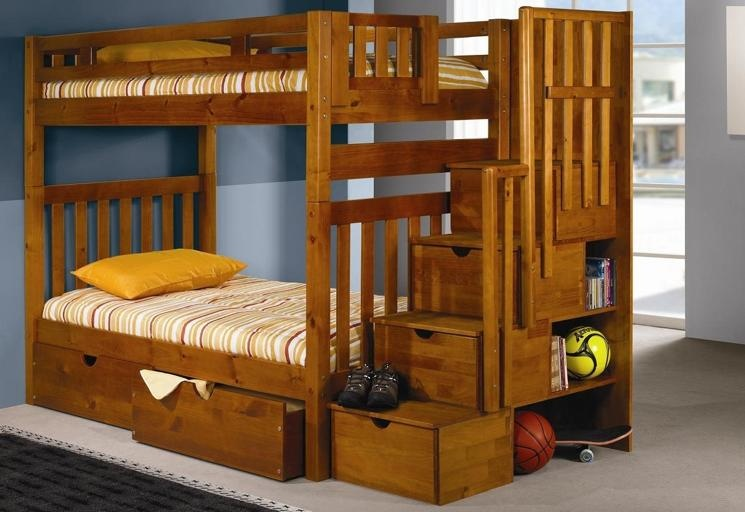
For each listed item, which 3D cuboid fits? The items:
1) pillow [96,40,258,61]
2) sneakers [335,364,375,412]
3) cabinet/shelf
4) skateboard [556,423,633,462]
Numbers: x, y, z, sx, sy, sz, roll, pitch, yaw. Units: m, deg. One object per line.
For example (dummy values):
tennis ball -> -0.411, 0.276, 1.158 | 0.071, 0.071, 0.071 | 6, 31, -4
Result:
pillow -> -1.070, -1.088, 3.815 | 0.514, 0.077, 0.338 | -11, 14, -38
sneakers -> -0.057, 0.551, 3.185 | 0.124, 0.115, 0.321 | 6, 12, 16
cabinet/shelf -> 0.446, 0.481, 3.599 | 0.849, 0.892, 1.524 | 5, 13, 43
skateboard -> 1.051, 0.882, 3.431 | 0.444, 0.066, 0.146 | -4, 8, 8
